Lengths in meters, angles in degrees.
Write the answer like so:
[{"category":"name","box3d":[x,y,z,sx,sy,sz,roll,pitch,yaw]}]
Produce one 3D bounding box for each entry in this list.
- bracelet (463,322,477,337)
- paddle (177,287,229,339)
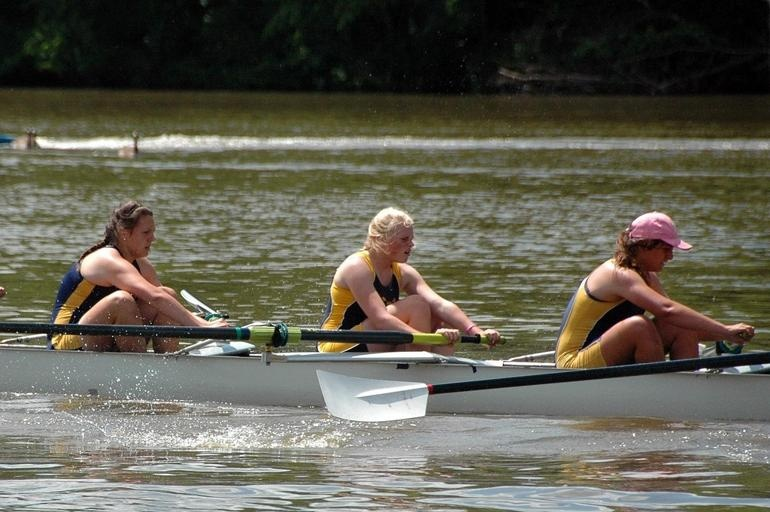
[{"category":"bracelet","box3d":[0.955,0.826,18.443,0.128,0.058,0.171,-31,51,-23]},{"category":"paddle","box3d":[-2.141,0.603,19.185,0.227,0.132,1.036,19,1,-38]}]
